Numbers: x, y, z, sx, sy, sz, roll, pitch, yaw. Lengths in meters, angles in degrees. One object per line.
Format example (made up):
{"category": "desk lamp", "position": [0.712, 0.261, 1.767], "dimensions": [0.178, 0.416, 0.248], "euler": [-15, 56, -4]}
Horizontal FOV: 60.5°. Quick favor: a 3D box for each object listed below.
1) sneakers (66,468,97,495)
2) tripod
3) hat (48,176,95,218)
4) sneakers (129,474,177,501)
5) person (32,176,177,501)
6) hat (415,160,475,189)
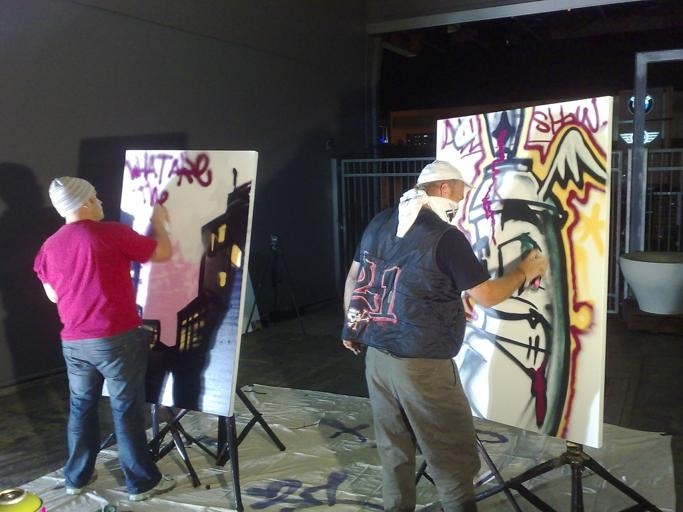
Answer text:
{"category": "sneakers", "position": [-1.763, 1.569, 3.986], "dimensions": [0.086, 0.116, 0.261], "euler": [21, 19, 11]}
{"category": "tripod", "position": [-0.876, 0.355, 7.560], "dimensions": [0.669, 1.075, 1.133], "euler": [-2, 12, -4]}
{"category": "hat", "position": [-1.749, -0.379, 3.773], "dimensions": [0.252, 0.249, 0.180], "euler": [2, 12, 16]}
{"category": "sneakers", "position": [-1.263, 1.566, 3.952], "dimensions": [0.114, 0.144, 0.319], "euler": [7, 10, 31]}
{"category": "person", "position": [-1.525, 0.546, 3.843], "dimensions": [0.788, 2.096, 0.514], "euler": [-4, 12, -13]}
{"category": "hat", "position": [0.580, -0.490, 3.443], "dimensions": [0.224, 0.142, 0.165], "euler": [-5, 11, -7]}
